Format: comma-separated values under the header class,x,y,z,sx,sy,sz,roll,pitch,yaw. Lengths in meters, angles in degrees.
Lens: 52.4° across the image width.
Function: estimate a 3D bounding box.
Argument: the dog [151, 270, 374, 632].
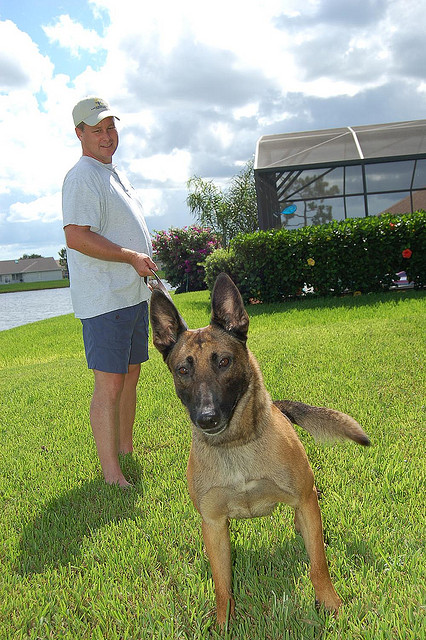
class,x,y,z,sx,sy,sz,roll,pitch,yaw
dog,0.102,0.493,1.924,0.567,1.396,0.714,-9,7,-10
